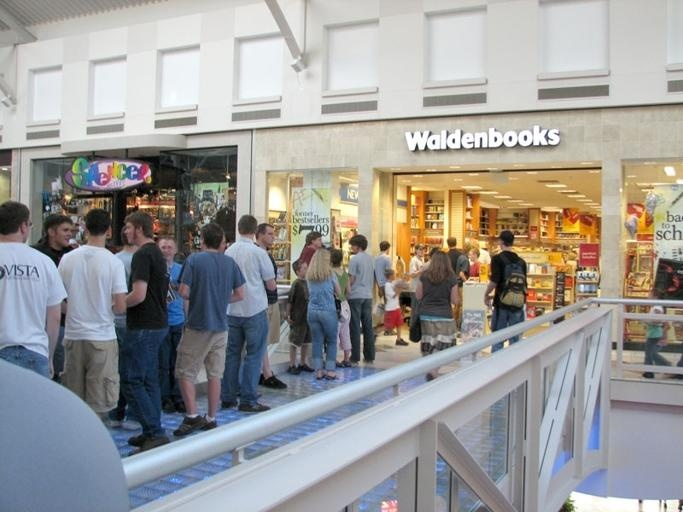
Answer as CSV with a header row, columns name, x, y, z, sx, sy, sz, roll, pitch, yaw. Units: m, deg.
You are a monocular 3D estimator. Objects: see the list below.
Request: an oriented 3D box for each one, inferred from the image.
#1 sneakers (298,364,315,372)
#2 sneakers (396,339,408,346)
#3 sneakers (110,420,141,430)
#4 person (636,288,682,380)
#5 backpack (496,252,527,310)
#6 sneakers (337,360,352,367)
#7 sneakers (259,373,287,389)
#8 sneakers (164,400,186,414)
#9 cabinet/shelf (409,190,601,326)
name,x,y,z,sx,sy,sz,roll,pitch,yaw
sneakers,-0.474,1.518,7.974,0.206,0.093,0.072,0,1,-9
sneakers,1.100,1.595,10.920,0.249,0.119,0.085,0,-1,-9
sneakers,-1.893,1.484,5.197,0.243,0.065,0.137,7,-1,4
person,3.921,1.062,7.320,0.418,0.935,0.268,-1,2,-27
backpack,2.214,0.343,7.584,0.370,0.673,0.382,4,2,22
sneakers,0.033,1.564,8.572,0.220,0.103,0.082,4,-3,-5
sneakers,-0.788,1.457,6.874,0.347,0.149,0.133,1,-4,20
sneakers,-1.639,1.484,5.814,0.204,0.093,0.096,-1,4,9
cabinet/shelf,4.585,-0.405,16.746,4.276,2.804,4.352,4,6,41
